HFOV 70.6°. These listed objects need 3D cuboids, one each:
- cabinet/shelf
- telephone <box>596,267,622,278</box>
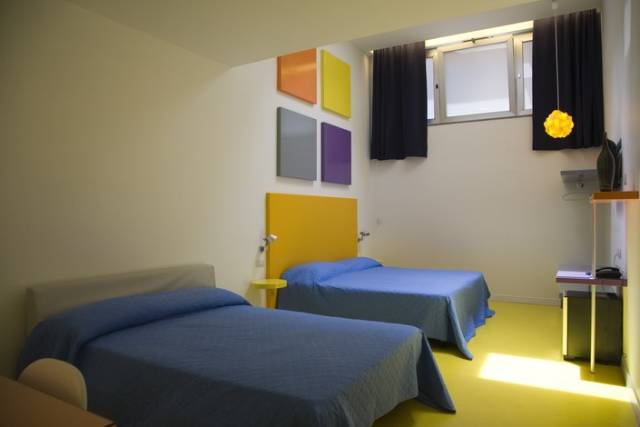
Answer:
[{"bbox_3d":[3.103,0.773,5.040,0.692,1.782,1.840,1,1,24],"label":"cabinet/shelf"},{"bbox_3d":[2.982,0.605,4.673,0.161,0.051,0.146,0,2,28],"label":"telephone"}]
